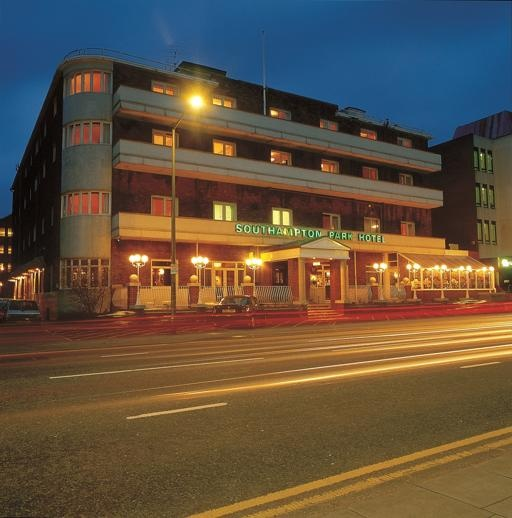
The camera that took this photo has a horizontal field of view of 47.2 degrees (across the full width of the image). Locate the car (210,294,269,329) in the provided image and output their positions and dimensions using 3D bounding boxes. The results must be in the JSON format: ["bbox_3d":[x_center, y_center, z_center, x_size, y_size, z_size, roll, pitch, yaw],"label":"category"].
[{"bbox_3d":[-0.962,2.844,32.180,2.487,1.566,2.896,-2,-5,0],"label":"car"}]
